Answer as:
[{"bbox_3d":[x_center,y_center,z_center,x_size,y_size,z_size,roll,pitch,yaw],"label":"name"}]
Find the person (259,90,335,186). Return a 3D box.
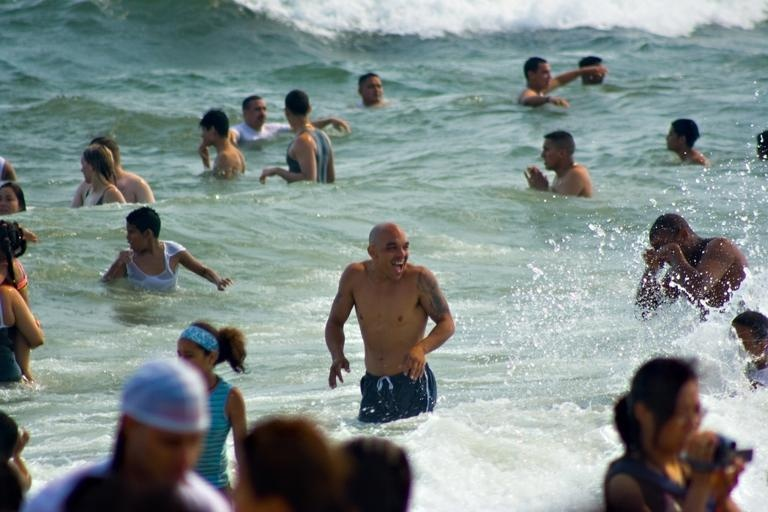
[{"bbox_3d":[-1.597,-2.403,31.347,0.606,1.932,1.097,7,15,42],"label":"person"}]

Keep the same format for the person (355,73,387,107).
[{"bbox_3d":[-0.375,-4.141,38.276,0.608,0.796,1.519,-2,10,0],"label":"person"}]

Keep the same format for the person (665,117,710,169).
[{"bbox_3d":[6.797,-2.555,34.626,1.174,1.306,0.921,3,55,8],"label":"person"}]

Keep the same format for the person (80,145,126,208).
[{"bbox_3d":[-5.663,-1.520,30.543,1.178,1.073,0.595,13,24,30],"label":"person"}]

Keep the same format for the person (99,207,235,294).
[{"bbox_3d":[-4.393,-0.016,30.103,1.738,1.491,0.572,-7,14,-8],"label":"person"}]

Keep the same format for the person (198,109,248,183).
[{"bbox_3d":[-3.581,-2.400,33.167,0.918,1.495,1.179,-3,11,-3],"label":"person"}]
